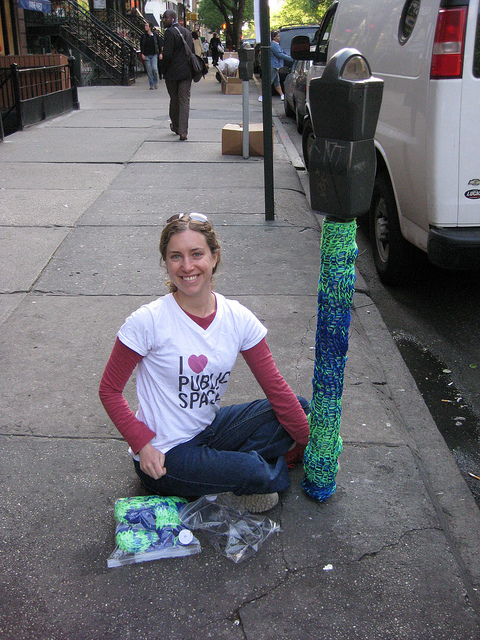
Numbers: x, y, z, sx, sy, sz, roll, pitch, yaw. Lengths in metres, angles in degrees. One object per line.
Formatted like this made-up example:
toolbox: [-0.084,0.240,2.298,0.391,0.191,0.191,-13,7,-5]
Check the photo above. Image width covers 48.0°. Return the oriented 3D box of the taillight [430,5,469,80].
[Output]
taillight: [1.161,-1.537,2.984,0.211,0.367,0.129,17,29,38]

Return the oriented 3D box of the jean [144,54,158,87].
jean: [-3.002,-8.596,18.456,0.363,0.904,0.640,-5,23,-8]

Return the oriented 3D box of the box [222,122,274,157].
box: [0.053,-2.830,8.724,0.774,0.584,0.854,0,18,2]

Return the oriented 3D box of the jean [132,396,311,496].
jean: [-0.042,0.469,1.858,0.399,0.142,0.389,-6,15,-1]

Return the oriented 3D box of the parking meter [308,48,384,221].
parking meter: [0.289,-0.515,1.502,0.159,0.419,0.167,-19,28,-36]

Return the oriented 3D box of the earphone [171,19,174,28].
earphone: [-1.143,-5.071,9.169,0.045,0.112,0.161,-3,24,-3]

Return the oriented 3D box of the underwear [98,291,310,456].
underwear: [-0.043,0.225,1.840,0.876,0.548,0.421,-2,7,-9]

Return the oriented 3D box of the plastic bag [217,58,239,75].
plastic bag: [-0.410,-9.892,20.938,0.593,0.579,1.930,-4,25,-5]
